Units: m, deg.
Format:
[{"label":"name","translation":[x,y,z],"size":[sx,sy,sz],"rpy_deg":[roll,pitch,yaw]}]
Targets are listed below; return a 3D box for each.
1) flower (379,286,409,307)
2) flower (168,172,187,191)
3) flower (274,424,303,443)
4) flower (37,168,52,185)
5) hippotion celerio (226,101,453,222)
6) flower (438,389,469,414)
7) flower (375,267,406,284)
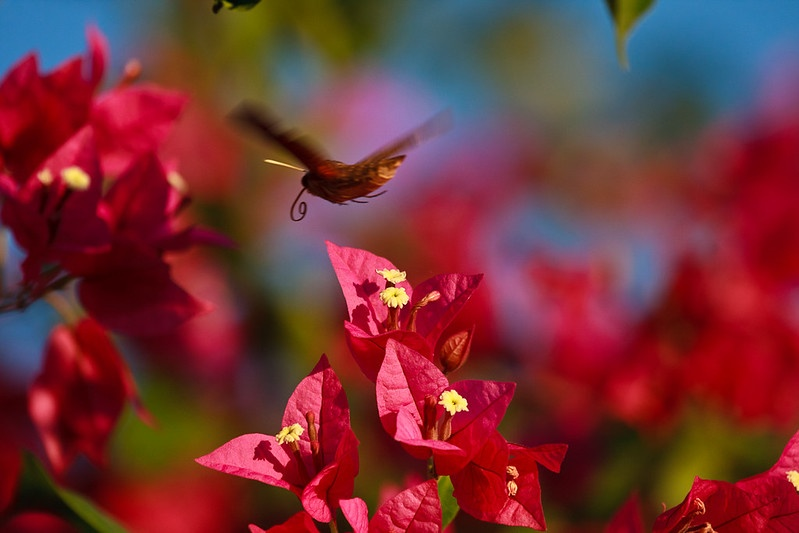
[{"label":"flower","translation":[-0.003,0.020,0.762],"size":[0.013,0.015,0.004],"rpy_deg":[26,-34,8]},{"label":"flower","translation":[-0.170,-0.065,0.842],"size":[0.010,0.005,0.017],"rpy_deg":[32,25,-48]},{"label":"flower","translation":[-0.074,0.112,0.747],"size":[0.013,0.005,0.014],"rpy_deg":[-21,8,33]},{"label":"flower","translation":[-0.255,-0.063,0.783],"size":[0.009,0.011,0.002],"rpy_deg":[13,-11,-7]},{"label":"hippotion celerio","translation":[-0.060,-0.073,0.875],"size":[0.106,0.063,0.114],"rpy_deg":[-11,-5,43]},{"label":"flower","translation":[0.036,0.089,0.735],"size":[0.016,0.005,0.016],"rpy_deg":[46,41,12]},{"label":"flower","translation":[-0.005,0.006,0.774],"size":[0.013,0.005,0.012],"rpy_deg":[23,18,39]}]
